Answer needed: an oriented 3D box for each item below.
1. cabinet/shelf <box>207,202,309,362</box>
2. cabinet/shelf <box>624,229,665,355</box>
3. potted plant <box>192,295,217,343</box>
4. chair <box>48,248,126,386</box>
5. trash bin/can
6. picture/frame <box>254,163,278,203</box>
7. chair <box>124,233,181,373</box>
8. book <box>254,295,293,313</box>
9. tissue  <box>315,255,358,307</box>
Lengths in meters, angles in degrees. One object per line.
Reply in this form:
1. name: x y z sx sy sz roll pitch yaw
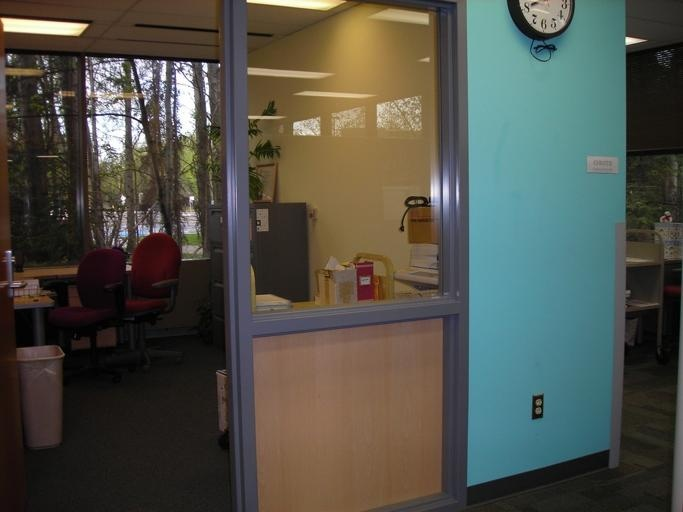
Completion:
1. cabinet/shelf: -0.503 0.039 3.008 0.419 0.650 0.417 0 2 -27
2. cabinet/shelf: 3.360 0.396 6.314 0.597 1.132 0.586 4 -2 33
3. potted plant: -1.612 0.705 6.348 0.212 0.553 0.232 7 -7 -34
4. chair: -2.331 0.505 5.059 0.675 1.159 0.624 -2 -1 34
5. trash bin/can: -2.090 0.991 3.844 0.282 0.637 0.186 -7 9 -34
6. picture/frame: -0.388 -0.361 2.861 0.102 0.216 0.018 -3 -16 11
7. chair: -1.965 0.393 5.332 0.653 1.267 0.716 0 -2 18
8. book: -0.357 0.236 2.885 0.191 0.093 0.044 -4 8 -11
9. tissue : -0.012 0.130 3.095 0.254 0.276 0.257 -9 10 -14
